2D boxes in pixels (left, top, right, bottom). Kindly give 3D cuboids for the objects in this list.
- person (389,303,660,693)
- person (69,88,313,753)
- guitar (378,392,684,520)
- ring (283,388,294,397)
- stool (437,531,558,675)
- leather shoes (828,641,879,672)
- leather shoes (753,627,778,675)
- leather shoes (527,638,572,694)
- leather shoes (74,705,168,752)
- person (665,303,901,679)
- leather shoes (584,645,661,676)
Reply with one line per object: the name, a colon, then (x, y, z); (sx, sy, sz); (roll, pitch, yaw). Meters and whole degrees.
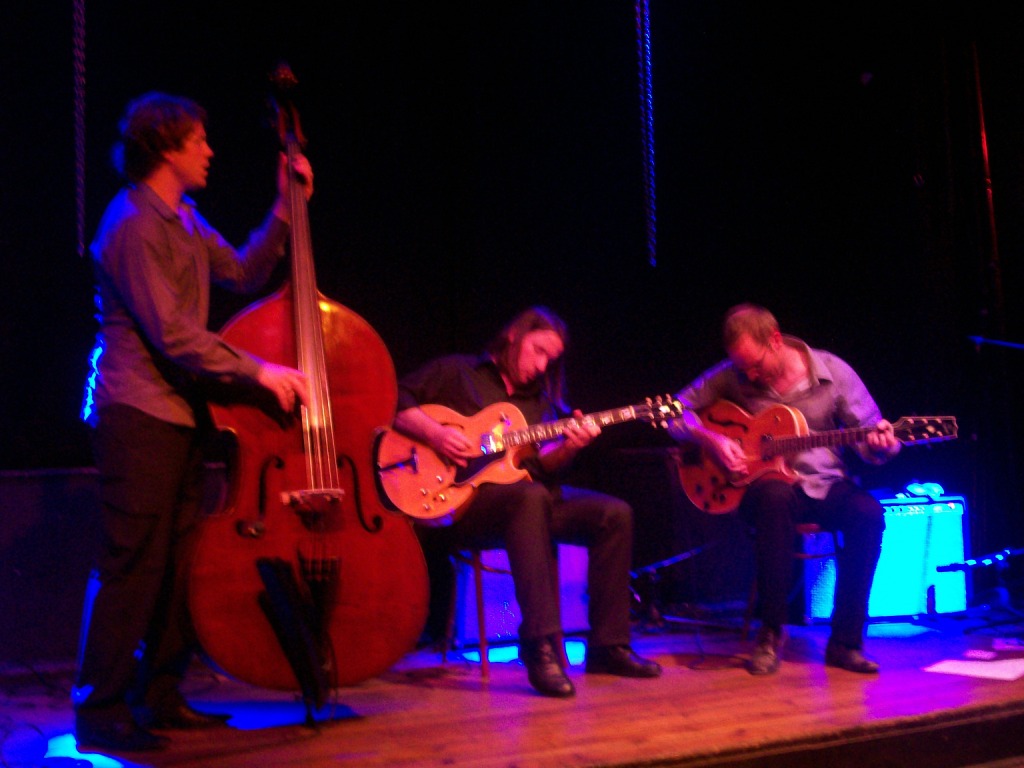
person: (0.069, 0.438, 4.332); (0.935, 1.699, 0.810); (-8, -19, 27)
person: (-1.198, 0.103, 3.457); (0.718, 2.254, 0.625); (-3, 6, -25)
guitar: (-0.004, 0.284, 4.285); (1.124, 0.465, 0.142); (-12, -10, -17)
ring: (-0.763, 0.031, 3.361); (0.008, 0.022, 0.039); (4, 6, 40)
stool: (-0.130, 0.983, 4.458); (0.412, 0.722, 0.489); (1, -1, -15)
leather shoes: (1.428, 1.165, 4.169); (0.082, 0.096, 0.222); (3, -8, -43)
leather shoes: (1.072, 1.141, 4.157); (0.101, 0.177, 0.070); (12, -26, 1)
leather shoes: (0.145, 1.128, 3.912); (0.179, 0.204, 0.199); (-1, 5, -14)
leather shoes: (-1.274, 1.147, 3.299); (0.355, 0.162, 0.124); (2, -2, -9)
person: (1.265, 0.420, 4.487); (0.884, 1.563, 1.072); (-1, 5, -11)
leather shoes: (0.458, 1.157, 4.161); (0.326, 0.149, 0.123); (-3, -5, 16)
